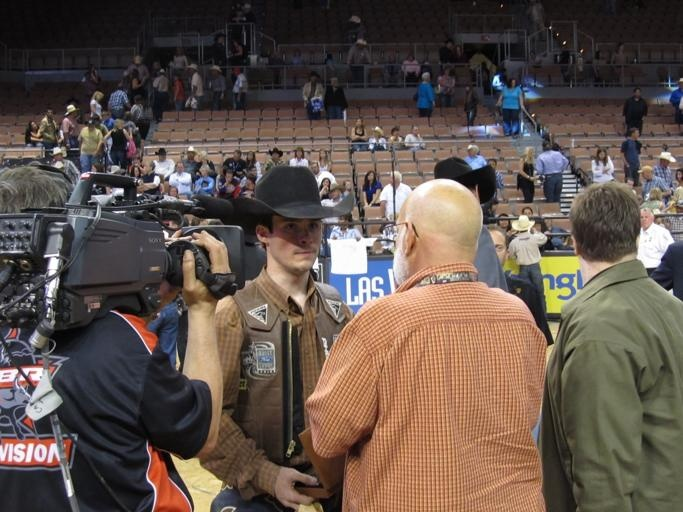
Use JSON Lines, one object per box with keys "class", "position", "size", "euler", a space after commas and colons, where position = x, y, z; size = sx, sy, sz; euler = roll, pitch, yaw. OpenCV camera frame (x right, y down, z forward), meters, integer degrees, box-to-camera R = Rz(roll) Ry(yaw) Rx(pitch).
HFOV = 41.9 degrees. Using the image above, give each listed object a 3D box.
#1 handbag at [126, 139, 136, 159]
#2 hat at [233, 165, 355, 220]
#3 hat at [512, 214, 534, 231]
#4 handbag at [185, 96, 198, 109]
{"class": "handbag", "position": [-3.557, -1.788, 15.028], "size": [0.133, 0.331, 0.361], "euler": [-1, 2, -14]}
{"class": "hat", "position": [-0.238, -0.273, 4.069], "size": [0.296, 0.137, 0.324], "euler": [0, -7, -27]}
{"class": "hat", "position": [2.417, -0.421, 11.905], "size": [0.179, 0.102, 0.254], "euler": [1, 25, 16]}
{"class": "handbag", "position": [-3.487, -3.541, 20.637], "size": [0.264, 0.283, 0.124], "euler": [10, 24, 22]}
